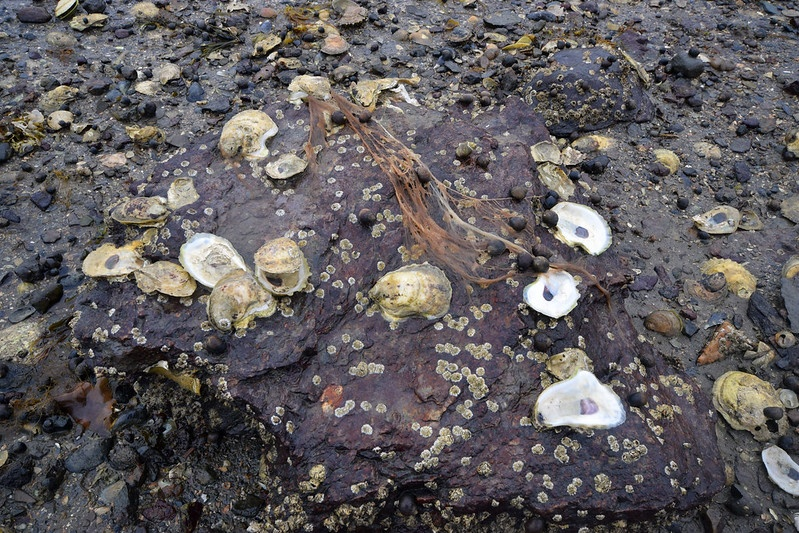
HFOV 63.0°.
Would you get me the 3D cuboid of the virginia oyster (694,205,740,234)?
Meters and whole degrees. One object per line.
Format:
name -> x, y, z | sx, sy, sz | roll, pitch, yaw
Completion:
virginia oyster -> 5.048, -0.707, 10.346 | 0.676, 0.188, 0.474 | -14, 63, -11
